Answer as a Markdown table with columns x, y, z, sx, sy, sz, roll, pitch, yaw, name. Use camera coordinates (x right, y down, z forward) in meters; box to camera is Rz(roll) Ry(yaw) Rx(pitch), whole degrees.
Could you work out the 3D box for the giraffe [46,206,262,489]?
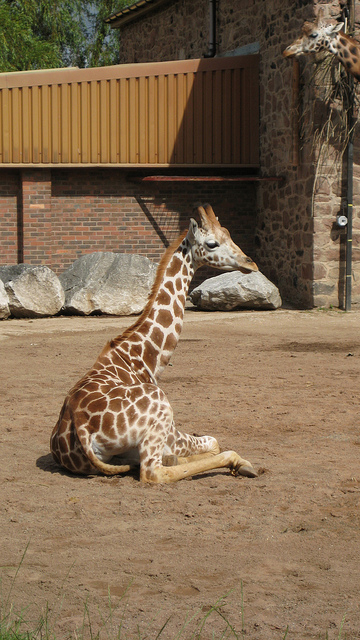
| x | y | z | sx | sy | sz | roll | pitch | yaw | name |
| --- | --- | --- | --- | --- | --- | --- | --- | --- | --- |
| -0.130 | 0.134 | 5.536 | 1.029 | 1.456 | 0.604 | -3 | 6 | -30 | giraffe |
